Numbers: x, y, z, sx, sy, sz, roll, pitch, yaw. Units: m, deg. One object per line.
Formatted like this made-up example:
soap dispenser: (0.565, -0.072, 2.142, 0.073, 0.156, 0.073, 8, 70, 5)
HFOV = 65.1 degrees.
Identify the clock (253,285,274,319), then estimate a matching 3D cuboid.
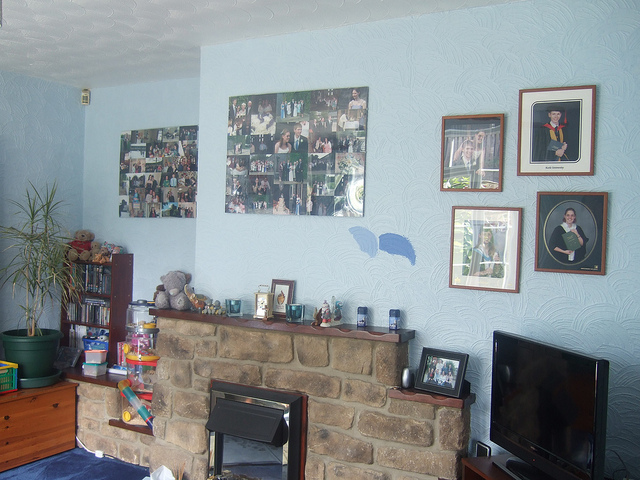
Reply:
clock: (-0.366, 0.434, 3.521, 0.114, 0.206, 0.112, -9, 3, -33)

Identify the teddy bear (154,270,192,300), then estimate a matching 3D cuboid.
teddy bear: (-1.156, 0.350, 3.920, 0.237, 0.288, 0.186, 13, -3, -11)

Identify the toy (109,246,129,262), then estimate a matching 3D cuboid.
toy: (-1.859, 0.123, 4.565, 0.096, 0.120, 0.036, 6, -27, -14)

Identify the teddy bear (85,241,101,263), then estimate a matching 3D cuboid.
teddy bear: (-2.092, 0.116, 4.570, 0.141, 0.209, 0.117, 1, -16, 6)

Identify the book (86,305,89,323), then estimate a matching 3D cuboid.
book: (-2.121, 0.670, 4.532, 0.036, 0.156, 0.009, 2, 2, 23)

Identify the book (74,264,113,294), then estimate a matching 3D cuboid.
book: (-2.109, 0.384, 4.554, 0.323, 0.314, 0.183, 10, -30, -36)

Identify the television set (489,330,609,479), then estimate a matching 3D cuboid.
television set: (1.218, 0.894, 2.724, 0.128, 0.689, 0.657, 0, 2, -27)

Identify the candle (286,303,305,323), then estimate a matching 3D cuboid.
candle: (-0.175, 0.500, 3.440, 0.112, 0.110, 0.105, 0, 1, -22)

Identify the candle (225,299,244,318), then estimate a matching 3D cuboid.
candle: (-0.621, 0.486, 3.605, 0.113, 0.115, 0.117, 2, 1, 3)

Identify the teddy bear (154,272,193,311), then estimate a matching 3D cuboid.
teddy bear: (-1.100, 0.395, 3.874, 0.316, 0.345, 0.257, -1, -7, 10)

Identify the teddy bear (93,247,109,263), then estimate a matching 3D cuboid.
teddy bear: (-1.991, 0.135, 4.516, 0.127, 0.129, 0.132, 1, 2, -26)

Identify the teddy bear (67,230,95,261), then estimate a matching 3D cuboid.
teddy bear: (-2.225, 0.060, 4.627, 0.201, 0.238, 0.149, 9, -28, -18)

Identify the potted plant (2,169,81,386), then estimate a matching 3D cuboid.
potted plant: (-2.448, 0.263, 4.366, 0.624, 1.804, 0.815, 1, 2, -27)

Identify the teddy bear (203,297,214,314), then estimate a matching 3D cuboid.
teddy bear: (-0.801, 0.472, 3.637, 0.074, 0.101, 0.041, -27, -30, 38)

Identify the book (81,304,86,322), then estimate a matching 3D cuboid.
book: (-2.172, 0.665, 4.551, 0.044, 0.162, 0.007, 2, 2, 23)
